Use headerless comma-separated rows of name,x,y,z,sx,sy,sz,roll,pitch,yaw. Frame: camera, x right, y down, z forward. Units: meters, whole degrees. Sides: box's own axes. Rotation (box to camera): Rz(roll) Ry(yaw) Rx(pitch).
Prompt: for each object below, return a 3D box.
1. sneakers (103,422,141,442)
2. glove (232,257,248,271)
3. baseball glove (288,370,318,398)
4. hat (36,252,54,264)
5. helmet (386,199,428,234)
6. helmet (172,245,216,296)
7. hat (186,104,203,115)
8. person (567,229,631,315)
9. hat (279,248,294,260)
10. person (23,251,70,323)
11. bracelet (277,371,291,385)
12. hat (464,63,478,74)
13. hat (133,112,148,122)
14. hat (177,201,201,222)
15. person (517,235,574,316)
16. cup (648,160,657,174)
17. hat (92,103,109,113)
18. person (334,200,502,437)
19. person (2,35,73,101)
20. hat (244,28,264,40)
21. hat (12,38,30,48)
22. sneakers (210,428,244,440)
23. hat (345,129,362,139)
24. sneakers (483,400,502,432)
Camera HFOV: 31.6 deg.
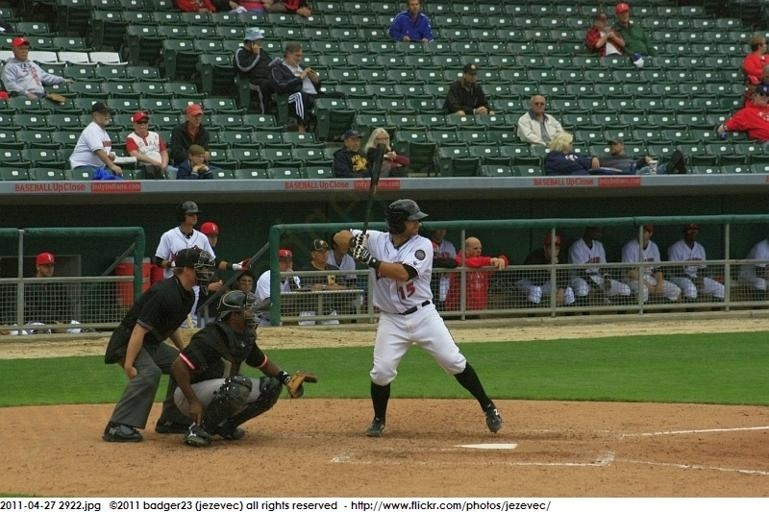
sneakers,-3.342,2.223,17.222,0.402,0.154,0.236,-1,5,-3
glove,-2.298,0.141,21.529,0.247,0.066,0.230,-13,0,-13
baseball glove,-1.066,1.597,17.415,0.282,0.189,0.416,7,37,26
hat,-5.383,0.040,21.332,0.246,0.118,0.182,-8,-5,39
helmet,0.227,-0.521,17.654,0.549,0.406,0.376,15,4,-2
helmet,-2.511,0.129,17.485,0.601,0.495,0.443,-11,10,-12
hat,-3.280,-2.458,22.909,0.196,0.115,0.260,-6,7,-40
person,3.530,0.107,22.857,0.908,1.217,1.033,0,4,-32
hat,-1.625,-0.036,21.686,0.193,0.132,0.290,3,3,-6
person,-5.353,0.511,21.272,0.664,0.778,0.306,-3,2,-13
bracelet,-1.323,1.551,17.367,0.169,0.134,0.156,-2,23,-25
hat,1.553,-3.439,25.158,0.204,0.170,0.318,-3,2,-3
hat,-4.129,-2.327,22.674,0.211,0.124,0.273,-2,2,-24
hat,-2.971,-0.690,20.633,0.331,0.284,0.244,5,15,13
person,2.631,0.229,22.617,0.978,1.237,0.410,-3,2,-3
cup,4.705,-1.561,23.942,0.120,0.230,0.283,-2,2,29
hat,-4.705,-2.423,22.300,0.276,0.122,0.179,-7,8,-6
person,0.343,0.774,17.564,1.668,3.002,0.749,-3,2,2
person,-6.584,-3.340,24.330,1.236,1.268,1.290,5,11,26
hat,-2.436,-4.020,24.813,0.385,0.183,0.373,-4,14,-6
hat,-6.407,-3.691,23.675,0.257,0.173,0.352,-4,4,-35
sneakers,-2.004,2.256,17.283,0.296,0.106,0.161,1,0,-3
hat,-0.577,-2.062,22.973,0.254,0.117,0.182,-11,-1,29
sneakers,1.368,2.066,17.423,0.191,0.388,0.189,-25,-22,27
